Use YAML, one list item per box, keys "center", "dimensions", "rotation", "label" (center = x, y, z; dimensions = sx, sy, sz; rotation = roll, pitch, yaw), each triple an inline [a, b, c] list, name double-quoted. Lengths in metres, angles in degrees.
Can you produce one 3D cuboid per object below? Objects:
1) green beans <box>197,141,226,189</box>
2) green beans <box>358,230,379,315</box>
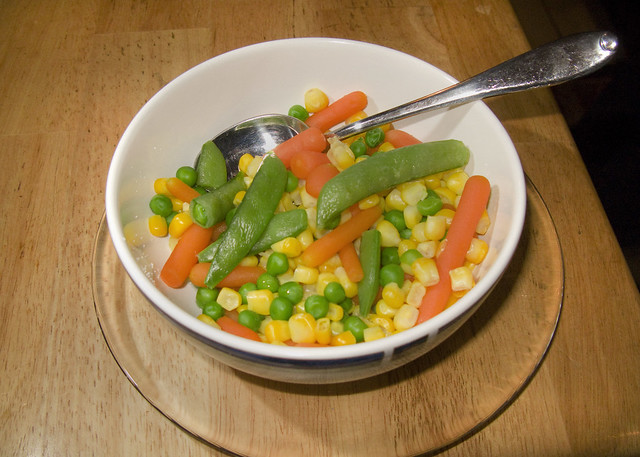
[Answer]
- center: [-0.679, -0.378, 3.832]
  dimensions: [0.172, 0.068, 0.314]
  rotation: [-3, 86, -14]
  label: "green beans"
- center: [0.295, 0.243, 3.567]
  dimensions: [0.112, 0.091, 0.494]
  rotation: [-1, 71, 18]
  label: "green beans"
